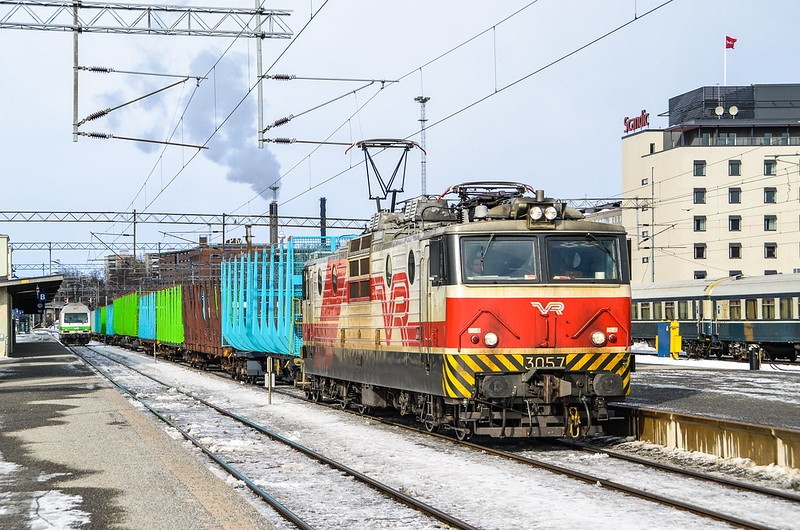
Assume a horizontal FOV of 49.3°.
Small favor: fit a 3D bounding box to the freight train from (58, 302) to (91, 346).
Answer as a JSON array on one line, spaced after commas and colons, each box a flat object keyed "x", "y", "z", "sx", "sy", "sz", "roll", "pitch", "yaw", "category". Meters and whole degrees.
[{"x": -31.128, "y": 5.687, "z": 83.571, "sx": 2.042, "sy": 2.908, "sz": 7.136, "roll": 0, "pitch": -5, "yaw": -20, "category": "freight train"}]

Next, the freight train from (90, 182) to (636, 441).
[{"x": 1.193, "y": 1.467, "z": 23.262, "sx": 4.073, "sy": 4.349, "sz": 12.327, "roll": 1, "pitch": -3, "yaw": -21, "category": "freight train"}]

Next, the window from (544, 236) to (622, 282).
[{"x": 4.084, "y": -0.065, "z": 19.965, "sx": 2.073, "sy": 1.311, "sz": 0.062, "roll": 0, "pitch": -1, "yaw": 41, "category": "window"}]
